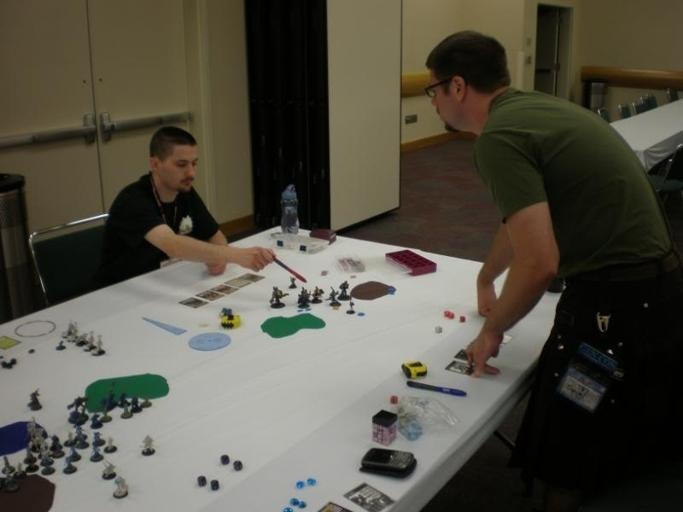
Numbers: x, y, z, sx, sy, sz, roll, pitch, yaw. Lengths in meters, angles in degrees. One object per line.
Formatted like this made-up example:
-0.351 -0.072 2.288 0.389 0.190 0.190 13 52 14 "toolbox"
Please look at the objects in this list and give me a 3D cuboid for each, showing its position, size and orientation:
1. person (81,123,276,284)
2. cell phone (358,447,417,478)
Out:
-0.827 -0.123 2.707 0.613 1.106 1.050 -11 19 -43 "person"
0.121 0.532 1.345 0.092 0.025 0.070 2 15 23 "cell phone"
